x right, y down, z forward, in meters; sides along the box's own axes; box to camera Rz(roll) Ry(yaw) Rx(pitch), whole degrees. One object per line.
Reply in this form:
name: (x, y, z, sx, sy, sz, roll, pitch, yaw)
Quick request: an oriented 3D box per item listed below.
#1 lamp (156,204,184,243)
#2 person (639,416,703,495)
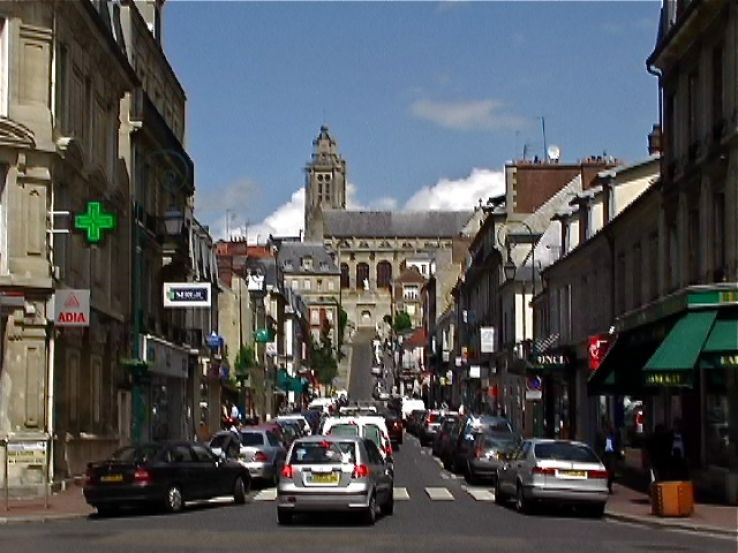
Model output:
lamp: (-7.767, -1.964, 52.115, 1.077, 1.838, 1.114, 2, 2, 18)
person: (7.646, 4.477, 34.682, 0.691, 1.605, 1.540, -10, -16, 40)
